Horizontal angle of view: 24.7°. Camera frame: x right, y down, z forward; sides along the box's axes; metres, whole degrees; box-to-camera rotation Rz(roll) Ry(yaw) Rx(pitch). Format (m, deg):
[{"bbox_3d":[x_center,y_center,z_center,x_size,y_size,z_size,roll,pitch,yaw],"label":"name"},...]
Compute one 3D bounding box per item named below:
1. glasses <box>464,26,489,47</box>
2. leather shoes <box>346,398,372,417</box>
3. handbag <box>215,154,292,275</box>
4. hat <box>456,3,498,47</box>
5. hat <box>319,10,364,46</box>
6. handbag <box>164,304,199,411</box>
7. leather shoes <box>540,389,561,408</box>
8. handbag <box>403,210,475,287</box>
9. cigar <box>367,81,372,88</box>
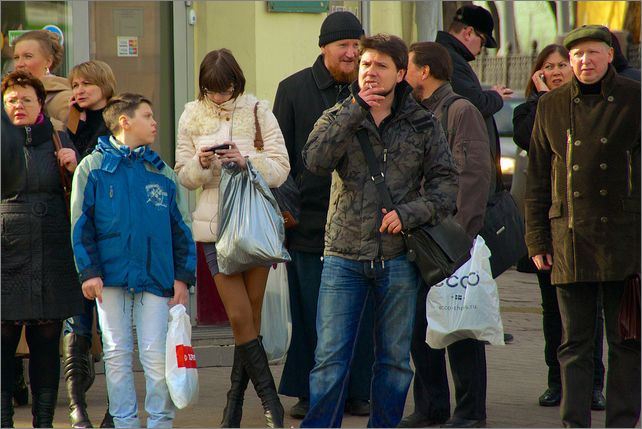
[{"bbox_3d":[1.414,-1.638,13.429,0.097,0.201,0.150,-18,21,-27],"label":"glasses"},{"bbox_3d":[0.321,1.679,12.775,0.245,0.112,0.098,-3,7,32],"label":"leather shoes"},{"bbox_3d":[-0.588,-0.018,12.138,0.745,1.008,0.477,-9,-13,1],"label":"handbag"},{"bbox_3d":[1.444,-1.759,13.424,0.407,0.238,0.285,29,6,-22],"label":"hat"},{"bbox_3d":[0.174,-1.584,12.560,0.293,0.198,0.290,-6,2,-31],"label":"hat"},{"bbox_3d":[-1.138,1.141,11.949,0.248,0.814,0.212,-1,2,-7],"label":"handbag"},{"bbox_3d":[2.023,1.601,12.908,0.099,0.102,0.233,-1,-3,30],"label":"leather shoes"},{"bbox_3d":[0.923,0.277,11.729,0.242,0.432,0.458,-19,12,46],"label":"handbag"},{"bbox_3d":[0.385,-1.035,11.642,0.049,0.048,0.015,-4,-12,7],"label":"cigar"}]
